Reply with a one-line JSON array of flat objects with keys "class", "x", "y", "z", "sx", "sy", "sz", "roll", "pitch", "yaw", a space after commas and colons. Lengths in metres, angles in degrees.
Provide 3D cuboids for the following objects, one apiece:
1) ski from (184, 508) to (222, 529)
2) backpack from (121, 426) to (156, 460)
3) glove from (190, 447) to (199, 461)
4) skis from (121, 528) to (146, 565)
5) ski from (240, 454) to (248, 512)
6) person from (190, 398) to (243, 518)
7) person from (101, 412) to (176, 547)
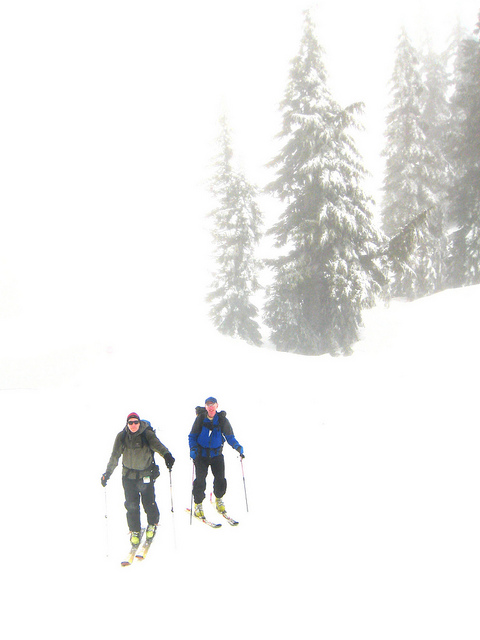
[{"class": "ski", "x": -0.683, "y": 3.621, "z": 12.273, "sx": 0.098, "sy": 0.111, "sz": 0.691, "roll": 1, "pitch": 12, "yaw": -39}, {"class": "backpack", "x": -1.871, "y": 2.197, "z": 12.178, "sx": 0.332, "sy": 0.782, "sz": 0.564, "roll": -2, "pitch": 9, "yaw": 4}, {"class": "glove", "x": -0.868, "y": 2.492, "z": 12.588, "sx": 0.164, "sy": 0.353, "sz": 0.138, "roll": 4, "pitch": -8, "yaw": -33}, {"class": "skis", "x": -1.843, "y": 3.917, "z": 11.595, "sx": 0.133, "sy": 0.172, "sz": 0.977, "roll": 9, "pitch": 12, "yaw": -5}, {"class": "ski", "x": 0.061, "y": 3.193, "z": 13.067, "sx": 0.115, "sy": 1.017, "sz": 0.125, "roll": -3, "pitch": -17, "yaw": -5}, {"class": "person", "x": -0.524, "y": 2.549, "z": 12.834, "sx": 0.749, "sy": 2.585, "sz": 0.866, "roll": 2, "pitch": 17, "yaw": -3}, {"class": "person", "x": -1.828, "y": 2.862, "z": 12.197, "sx": 0.972, "sy": 2.641, "sz": 0.778, "roll": 2, "pitch": 18, "yaw": 7}]
